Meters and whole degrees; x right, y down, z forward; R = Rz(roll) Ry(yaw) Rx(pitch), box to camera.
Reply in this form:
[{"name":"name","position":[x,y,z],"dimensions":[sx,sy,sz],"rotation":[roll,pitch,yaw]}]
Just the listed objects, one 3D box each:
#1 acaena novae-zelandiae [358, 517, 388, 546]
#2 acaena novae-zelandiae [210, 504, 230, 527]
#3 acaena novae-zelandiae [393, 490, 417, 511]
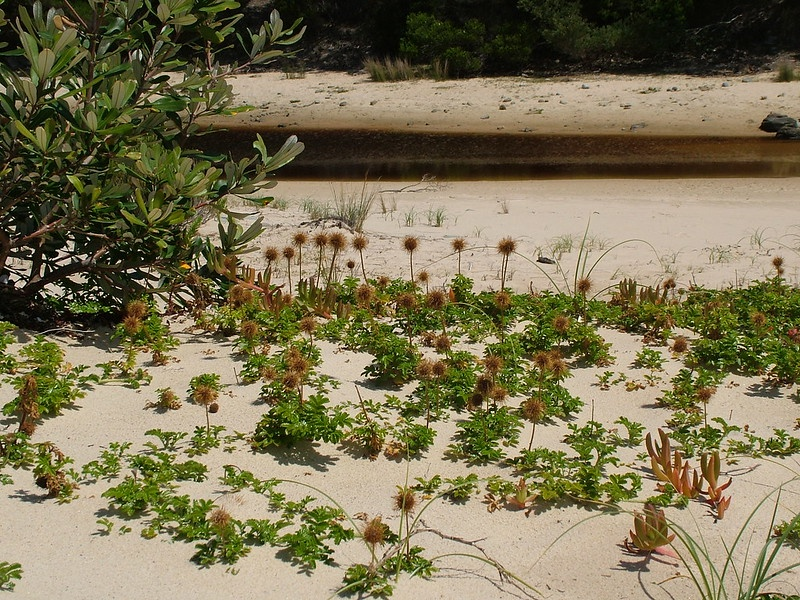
[{"name":"acaena novae-zelandiae","position":[-0.186,1.682,6.726],"dimensions":[0.185,0.167,0.187],"rotation":[-3,-5,45]},{"name":"acaena novae-zelandiae","position":[-1.317,1.591,6.763],"dimensions":[0.161,0.159,0.227],"rotation":[9,-22,-8]},{"name":"acaena novae-zelandiae","position":[0.040,1.507,6.968],"dimensions":[0.179,0.177,0.177],"rotation":[1,1,-5]}]
